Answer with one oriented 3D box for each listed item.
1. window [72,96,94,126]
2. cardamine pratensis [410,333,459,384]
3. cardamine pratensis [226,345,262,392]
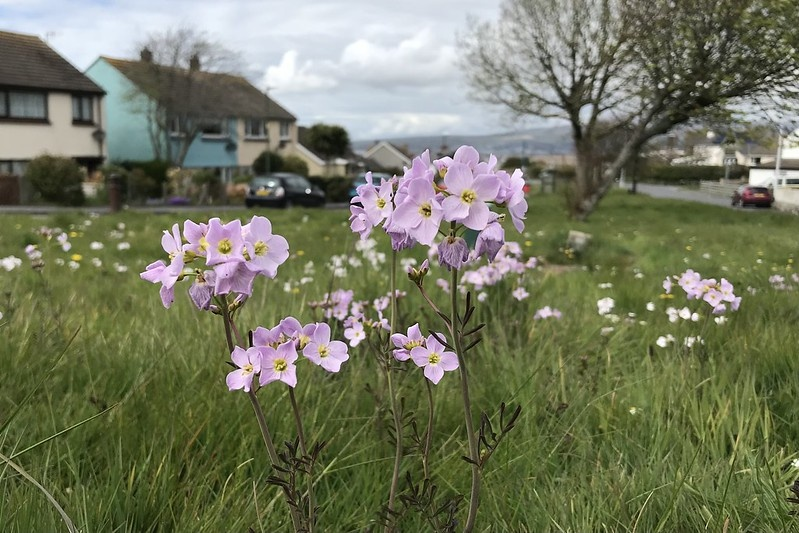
[{"bbox_3d":[-3.068,-1.504,7.376,0.023,0.284,0.256,1,9,18],"label":"window"},{"bbox_3d":[0.204,0.541,4.531,0.246,0.285,0.186,-6,12,-30],"label":"cardamine pratensis"},{"bbox_3d":[-0.884,0.583,4.353,0.159,0.261,0.135,5,11,26],"label":"cardamine pratensis"}]
